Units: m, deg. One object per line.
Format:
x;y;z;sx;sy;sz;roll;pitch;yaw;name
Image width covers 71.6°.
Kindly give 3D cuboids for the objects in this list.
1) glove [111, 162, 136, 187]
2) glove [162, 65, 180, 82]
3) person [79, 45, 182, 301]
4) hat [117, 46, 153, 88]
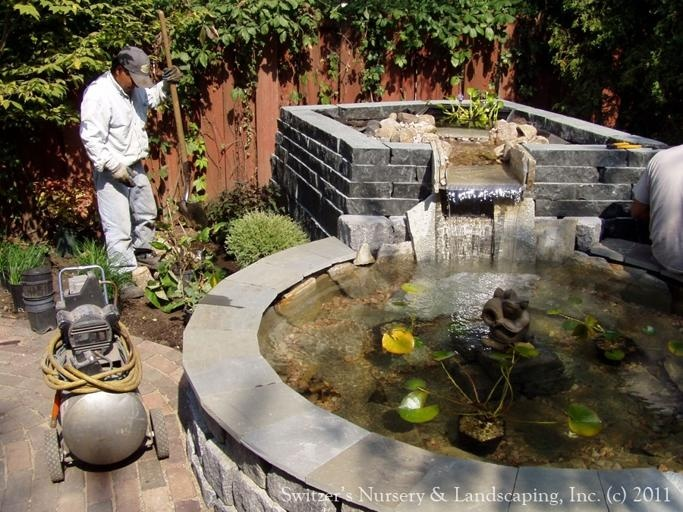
-2.236;-0.808;4.924;0.194;0.229;0.171;-23;23;13;glove
-1.839;-1.950;5.089;0.161;0.166;0.072;-11;9;-4;glove
-2.228;-0.866;5.083;0.722;2.521;0.979;10;19;34;person
-2.050;-1.854;4.644;0.294;0.381;0.239;-9;17;-25;hat
